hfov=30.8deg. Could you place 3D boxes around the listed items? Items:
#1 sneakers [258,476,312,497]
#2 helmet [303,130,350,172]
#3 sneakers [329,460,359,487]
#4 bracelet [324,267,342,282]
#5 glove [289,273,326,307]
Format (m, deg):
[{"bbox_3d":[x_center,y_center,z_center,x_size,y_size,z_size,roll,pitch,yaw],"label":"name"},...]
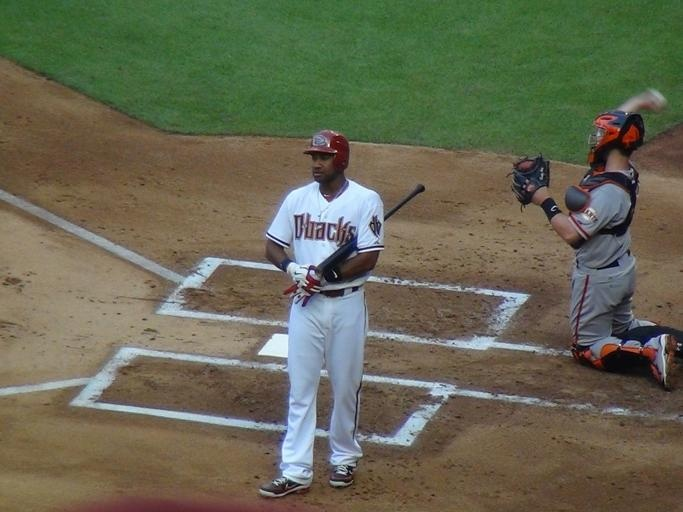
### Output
[{"bbox_3d":[-0.587,2.266,12.370,0.600,0.175,0.171,-2,20,-16],"label":"sneakers"},{"bbox_3d":[-0.154,-1.048,12.466,0.433,0.381,0.394,0,28,-5],"label":"helmet"},{"bbox_3d":[0.019,2.194,12.489,0.160,0.135,0.383,1,2,16],"label":"sneakers"},{"bbox_3d":[-0.097,0.199,12.251,0.180,0.158,0.086,-15,35,-30],"label":"bracelet"},{"bbox_3d":[-0.400,0.306,12.311,0.366,0.370,0.148,15,33,21],"label":"glove"}]
